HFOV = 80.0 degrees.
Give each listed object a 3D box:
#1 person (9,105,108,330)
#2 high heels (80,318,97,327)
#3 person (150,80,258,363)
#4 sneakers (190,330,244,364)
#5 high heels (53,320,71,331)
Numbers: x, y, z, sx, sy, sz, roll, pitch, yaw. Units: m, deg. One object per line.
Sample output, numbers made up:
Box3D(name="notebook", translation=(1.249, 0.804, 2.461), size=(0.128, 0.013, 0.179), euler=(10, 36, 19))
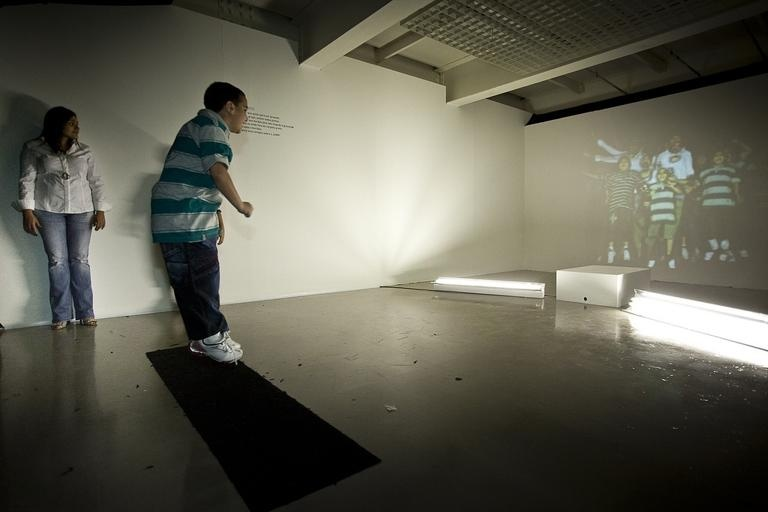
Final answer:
Box3D(name="person", translation=(-2.927, -0.353, 4.219), size=(0.690, 1.986, 0.414), euler=(-6, 10, -37))
Box3D(name="high heels", translation=(-2.750, 0.622, 4.296), size=(0.083, 0.040, 0.124), euler=(0, 2, -39))
Box3D(name="person", translation=(-1.344, -0.143, 3.374), size=(0.636, 1.866, 0.305), euler=(-3, 8, -21))
Box3D(name="sneakers", translation=(-1.263, 0.672, 3.475), size=(0.457, 0.208, 0.173), euler=(6, 7, 5))
Box3D(name="high heels", translation=(-2.954, 0.614, 4.217), size=(0.126, 0.062, 0.258), euler=(-4, 9, -27))
